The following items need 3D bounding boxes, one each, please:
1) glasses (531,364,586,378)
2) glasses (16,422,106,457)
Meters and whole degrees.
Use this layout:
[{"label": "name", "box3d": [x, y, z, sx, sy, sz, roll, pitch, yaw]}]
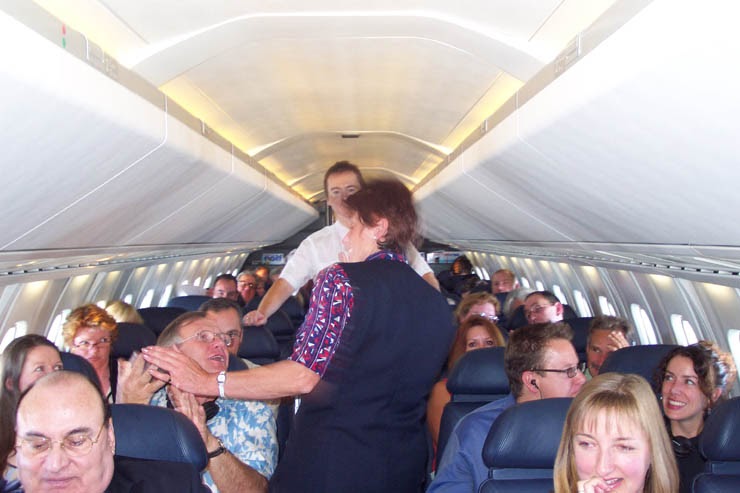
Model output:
[{"label": "glasses", "box3d": [1.458, 0.948, 3.574, 0.450, 0.087, 0.140, 5, -20, -26]}, {"label": "glasses", "box3d": [-1.491, 0.929, 2.236, 0.357, 0.117, 0.095, -3, -19, -2]}]
